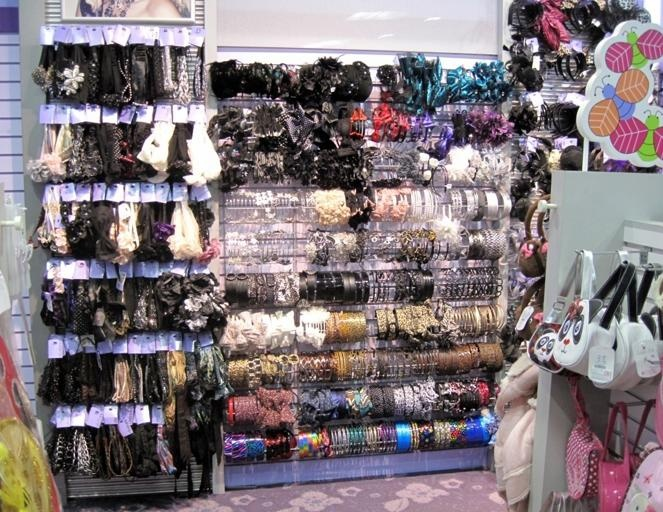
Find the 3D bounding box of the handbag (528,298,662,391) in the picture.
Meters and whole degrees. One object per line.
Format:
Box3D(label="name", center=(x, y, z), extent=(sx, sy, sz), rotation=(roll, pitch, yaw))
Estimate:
Box3D(label="handbag", center=(1.179, 0.380, 3.034), extent=(0.426, 0.271, 0.342), rotation=(5, 3, -22))
